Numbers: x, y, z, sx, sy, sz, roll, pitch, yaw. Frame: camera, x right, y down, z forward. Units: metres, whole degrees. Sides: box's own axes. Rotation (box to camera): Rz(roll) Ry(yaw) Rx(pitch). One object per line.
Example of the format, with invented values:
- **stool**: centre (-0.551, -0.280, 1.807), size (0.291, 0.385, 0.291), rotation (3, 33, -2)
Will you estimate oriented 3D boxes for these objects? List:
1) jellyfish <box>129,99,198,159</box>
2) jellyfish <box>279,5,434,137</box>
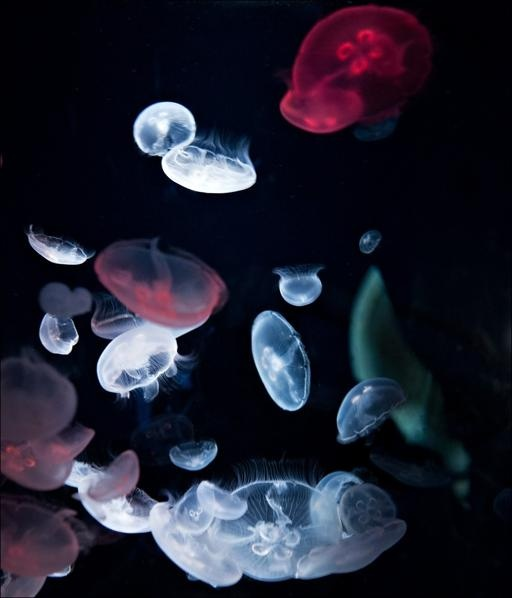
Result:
- **jellyfish**: centre (-0.535, -1.005, 3.909), size (0.372, 0.291, 0.113), rotation (-2, 25, -13)
- **jellyfish**: centre (0.593, -1.363, 3.927), size (0.876, 0.704, 0.186), rotation (2, 24, -6)
